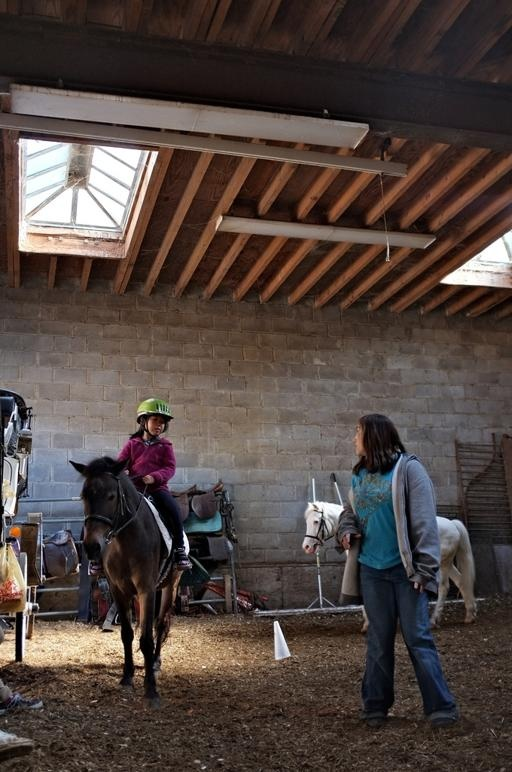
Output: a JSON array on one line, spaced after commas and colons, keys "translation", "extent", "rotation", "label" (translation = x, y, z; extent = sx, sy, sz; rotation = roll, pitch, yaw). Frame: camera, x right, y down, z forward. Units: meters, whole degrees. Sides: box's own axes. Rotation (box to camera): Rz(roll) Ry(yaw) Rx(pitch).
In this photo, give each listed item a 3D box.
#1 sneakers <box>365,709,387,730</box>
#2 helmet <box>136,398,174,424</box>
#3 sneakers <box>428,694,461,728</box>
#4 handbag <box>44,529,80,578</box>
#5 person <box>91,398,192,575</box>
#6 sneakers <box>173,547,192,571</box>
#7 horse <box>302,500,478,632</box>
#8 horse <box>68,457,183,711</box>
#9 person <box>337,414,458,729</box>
[{"translation": [0.535, 1.486, 2.786], "extent": [0.046, 0.055, 0.131], "rotation": [4, -28, -2], "label": "sneakers"}, {"translation": [-0.770, 0.166, 4.634], "extent": [0.184, 0.126, 0.255], "rotation": [18, -31, -34], "label": "helmet"}, {"translation": [0.785, 1.368, 2.620], "extent": [0.075, 0.062, 0.142], "rotation": [0, -9, 12], "label": "sneakers"}, {"translation": [-2.043, 1.770, 6.572], "extent": [0.277, 0.460, 0.503], "rotation": [-12, -5, 2], "label": "handbag"}, {"translation": [-0.746, 0.693, 4.523], "extent": [0.569, 1.191, 0.466], "rotation": [-2, -16, 4], "label": "person"}, {"translation": [-0.530, 1.247, 4.455], "extent": [0.121, 0.162, 0.066], "rotation": [-15, 5, -33], "label": "sneakers"}, {"translation": [1.404, 1.784, 6.364], "extent": [1.970, 1.264, 0.508], "rotation": [4, -11, -20], "label": "horse"}, {"translation": [-0.740, 1.222, 4.055], "extent": [0.468, 1.378, 1.747], "rotation": [-6, -17, 6], "label": "horse"}, {"translation": [0.637, 0.843, 2.900], "extent": [0.318, 1.448, 0.540], "rotation": [3, -10, -38], "label": "person"}]
